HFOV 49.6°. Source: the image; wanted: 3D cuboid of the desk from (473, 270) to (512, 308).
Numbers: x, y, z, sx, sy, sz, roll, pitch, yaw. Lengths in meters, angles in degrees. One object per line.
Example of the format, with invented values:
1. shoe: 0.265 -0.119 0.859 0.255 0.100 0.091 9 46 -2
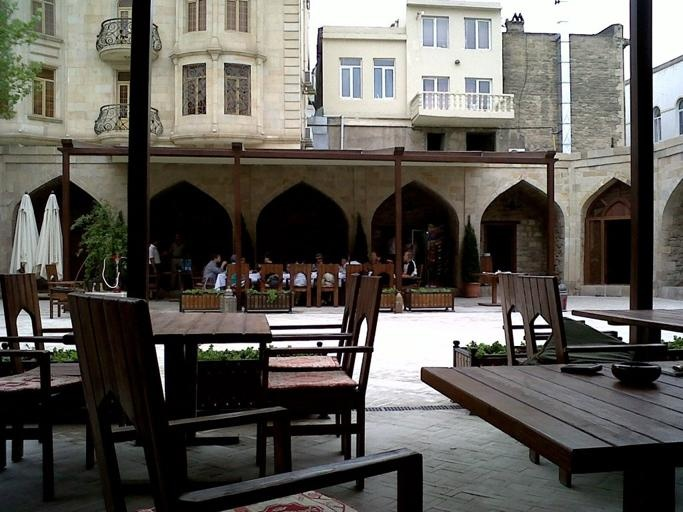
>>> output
1. desk: 3.969 0.832 19.212 1.020 0.749 1.020 1 -1 34

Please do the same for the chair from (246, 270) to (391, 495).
1. chair: -0.237 0.892 6.009 0.873 1.502 1.187 3 3 -8

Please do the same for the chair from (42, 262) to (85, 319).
1. chair: -5.618 0.724 15.095 0.674 1.081 0.917 1 2 -9

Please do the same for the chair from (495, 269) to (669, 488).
1. chair: 1.821 0.735 6.044 0.837 1.234 0.948 -10 5 -33

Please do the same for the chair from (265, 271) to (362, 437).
1. chair: -0.291 0.878 6.234 0.985 1.396 1.674 1 0 -7
